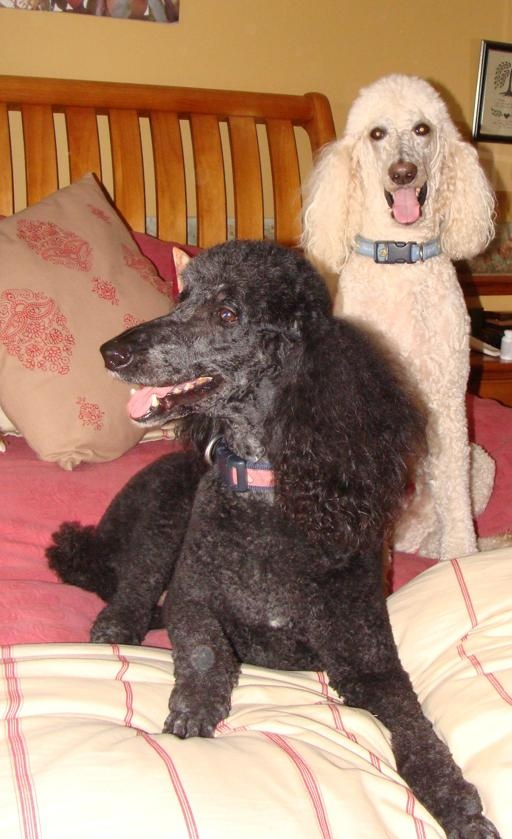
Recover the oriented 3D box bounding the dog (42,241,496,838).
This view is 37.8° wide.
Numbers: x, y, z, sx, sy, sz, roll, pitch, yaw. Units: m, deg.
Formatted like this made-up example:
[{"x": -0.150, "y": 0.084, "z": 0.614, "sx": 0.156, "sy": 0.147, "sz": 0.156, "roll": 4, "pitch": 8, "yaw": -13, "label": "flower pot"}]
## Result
[{"x": 0.027, "y": 0.078, "z": 1.219, "sx": 0.449, "sy": 0.650, "sz": 0.936, "roll": -3, "pitch": 23, "yaw": -8, "label": "dog"}]
